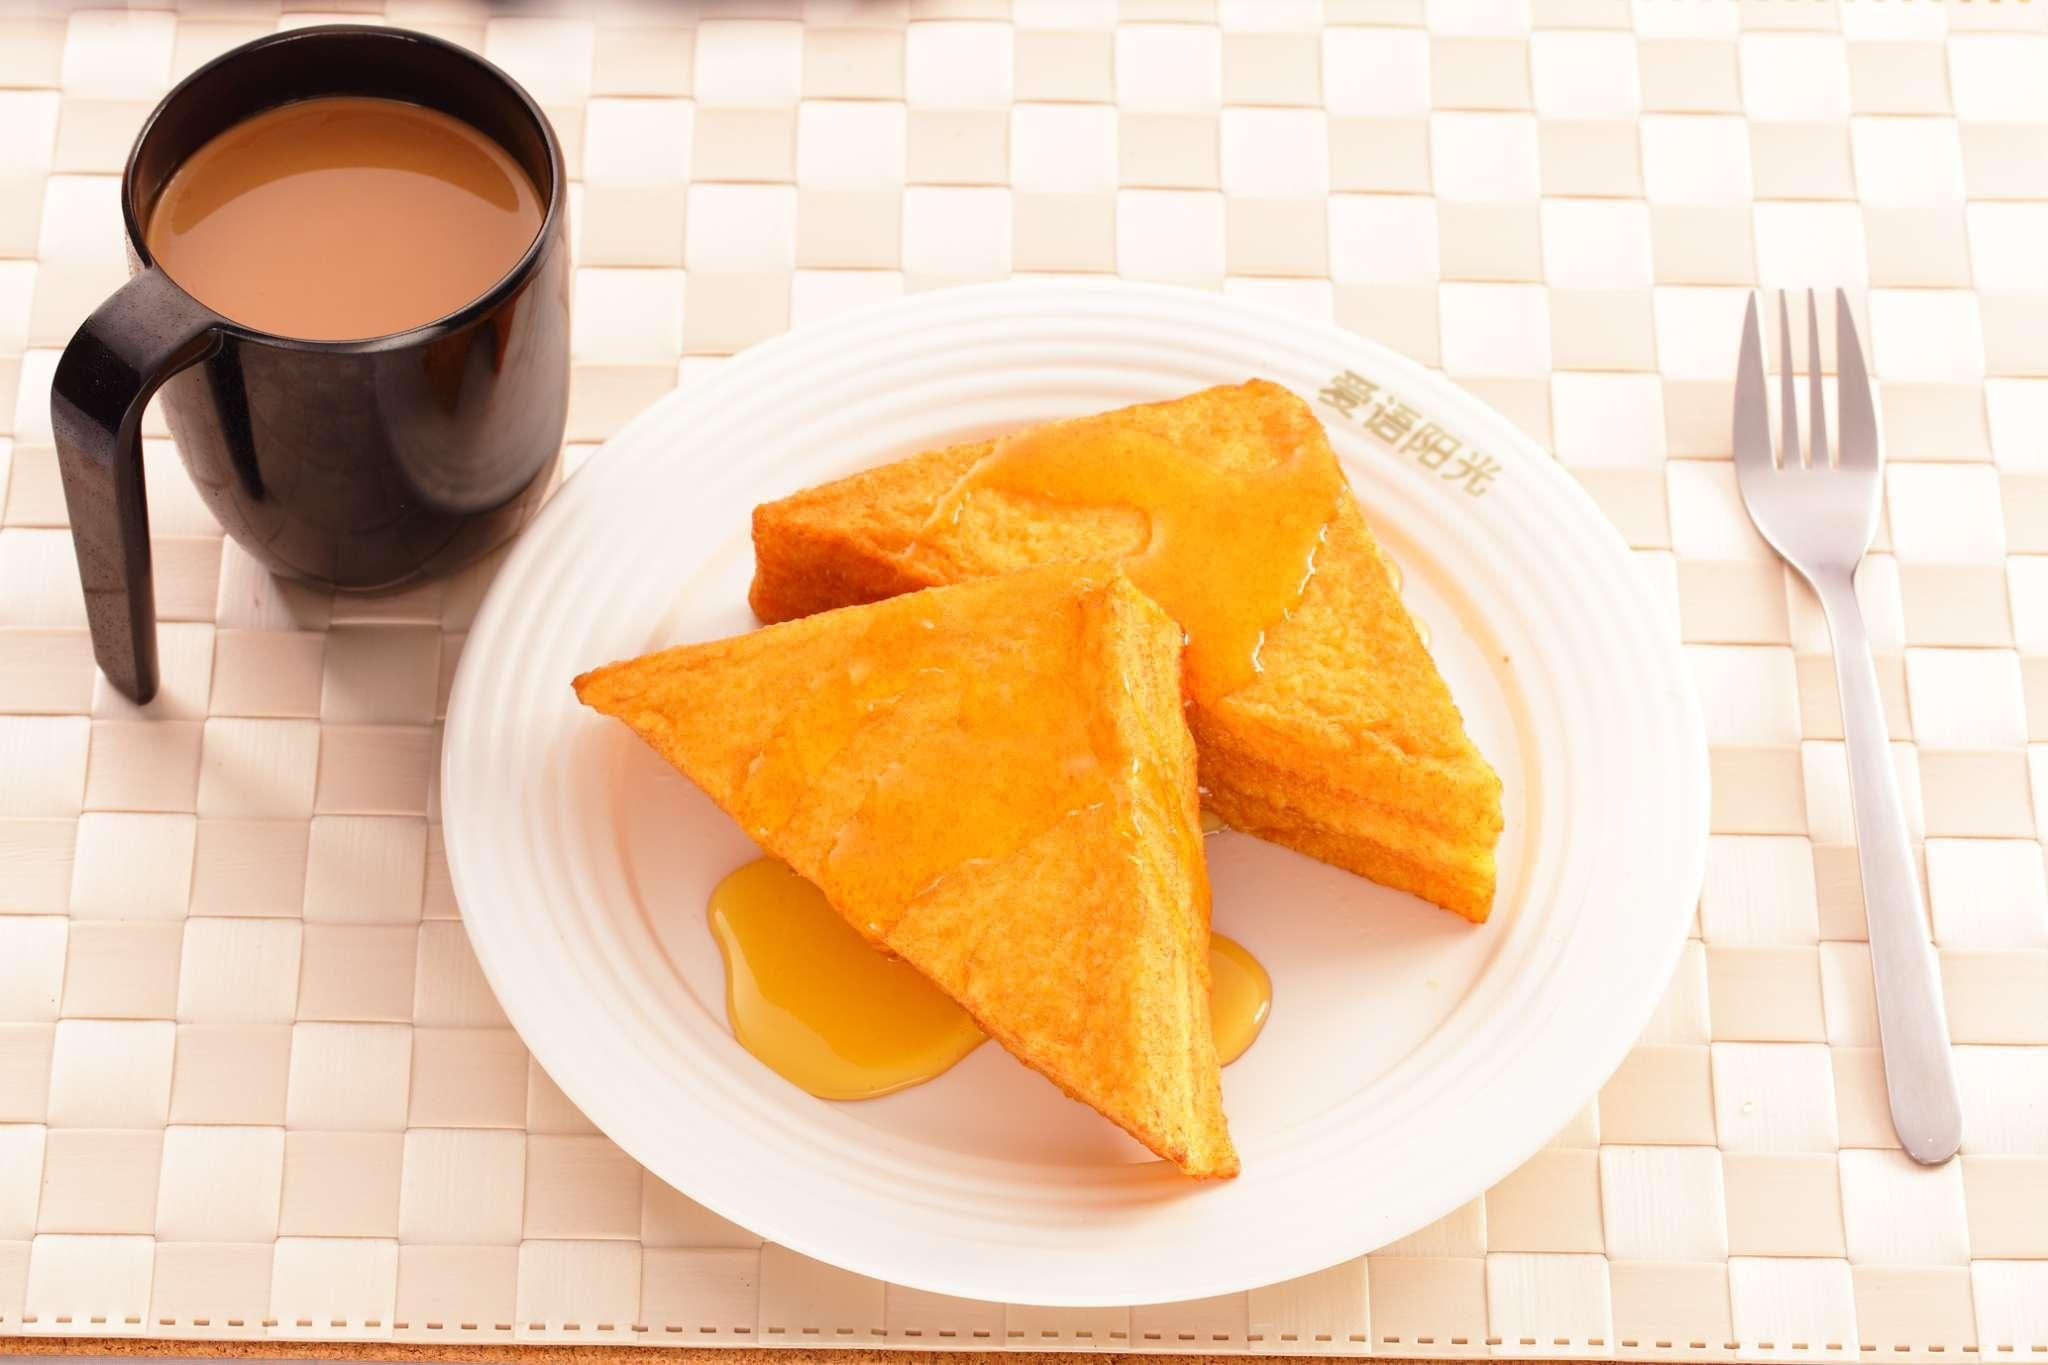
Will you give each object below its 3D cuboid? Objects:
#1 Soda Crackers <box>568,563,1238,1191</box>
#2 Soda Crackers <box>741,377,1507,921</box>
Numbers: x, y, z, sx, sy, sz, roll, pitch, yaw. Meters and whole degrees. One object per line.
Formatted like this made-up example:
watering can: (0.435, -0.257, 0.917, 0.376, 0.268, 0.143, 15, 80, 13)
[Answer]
Soda Crackers: (-0.029, 0.047, 1.534, 0.574, 0.100, 0.376, 33, 60, 16)
Soda Crackers: (0.071, 0.005, 1.722, 0.451, 0.430, 0.571, -4, 34, 0)
